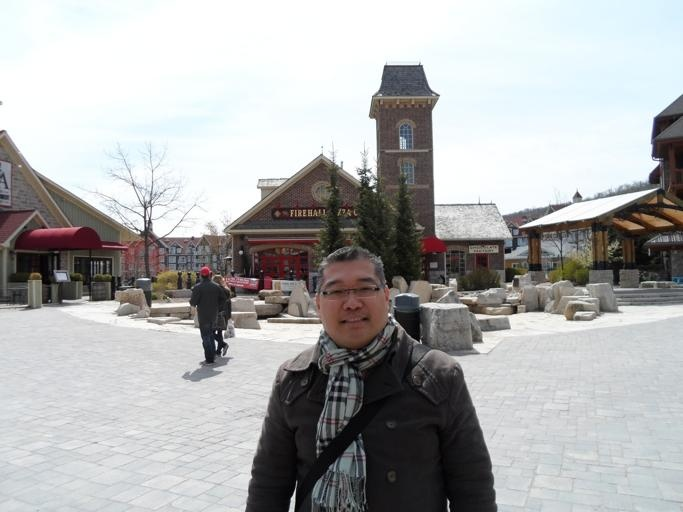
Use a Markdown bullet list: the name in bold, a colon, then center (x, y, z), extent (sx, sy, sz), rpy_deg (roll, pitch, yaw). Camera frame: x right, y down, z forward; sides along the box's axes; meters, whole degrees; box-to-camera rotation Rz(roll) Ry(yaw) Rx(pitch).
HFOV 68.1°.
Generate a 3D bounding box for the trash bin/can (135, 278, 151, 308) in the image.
- **trash bin/can**: center (-7.861, 1.436, 20.240), extent (0.517, 1.082, 0.981), rpy_deg (0, -1, -25)

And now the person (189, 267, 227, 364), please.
- **person**: center (-2.745, 1.171, 10.381), extent (0.684, 1.904, 1.127), rpy_deg (0, 0, -8)

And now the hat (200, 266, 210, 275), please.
- **hat**: center (-2.763, 0.309, 10.335), extent (0.146, 0.114, 0.222), rpy_deg (1, 17, -6)
